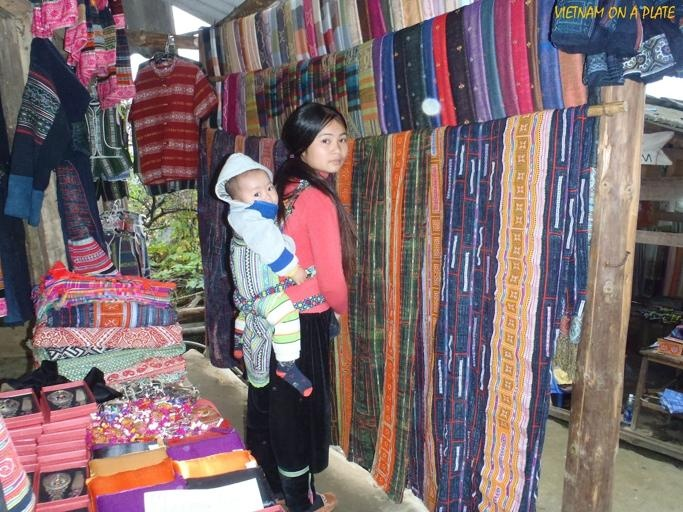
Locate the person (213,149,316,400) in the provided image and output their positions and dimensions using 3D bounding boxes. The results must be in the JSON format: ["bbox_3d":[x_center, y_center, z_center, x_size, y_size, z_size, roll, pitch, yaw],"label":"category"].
[{"bbox_3d":[-0.383,0.122,2.709,0.436,1.226,0.365,-1,5,18],"label":"person"}]
